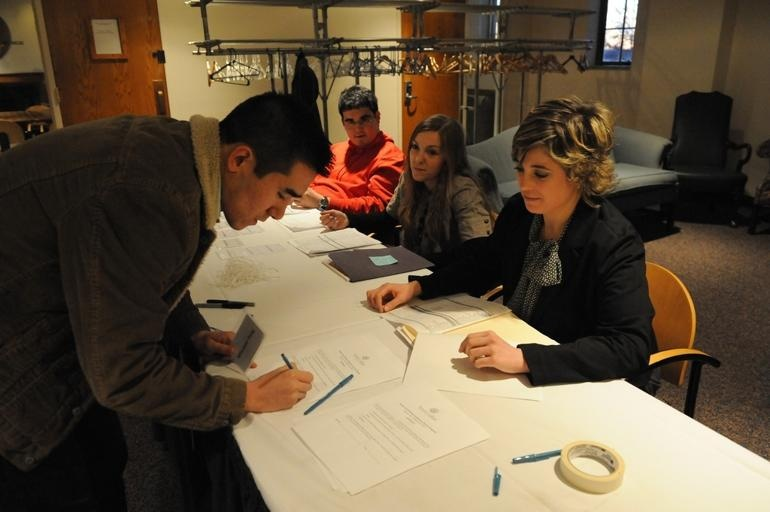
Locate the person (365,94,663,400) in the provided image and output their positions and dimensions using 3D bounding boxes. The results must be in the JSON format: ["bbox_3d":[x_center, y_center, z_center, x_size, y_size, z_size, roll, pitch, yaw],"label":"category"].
[{"bbox_3d":[0.562,0.074,2.129,0.831,1.525,0.761,-13,21,-35],"label":"person"}]

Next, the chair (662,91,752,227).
[{"bbox_3d":[3.800,-1.235,6.210,0.861,1.425,0.945,10,17,34],"label":"chair"}]

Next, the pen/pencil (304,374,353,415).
[{"bbox_3d":[-0.196,0.475,1.804,0.025,0.026,0.213,16,34,39],"label":"pen/pencil"}]

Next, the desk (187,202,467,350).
[{"bbox_3d":[-0.343,0.139,2.570,1.001,0.980,0.442,-11,-17,-7],"label":"desk"}]

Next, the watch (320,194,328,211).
[{"bbox_3d":[-0.432,-0.392,3.728,0.060,0.093,0.086,7,-9,-19],"label":"watch"}]
